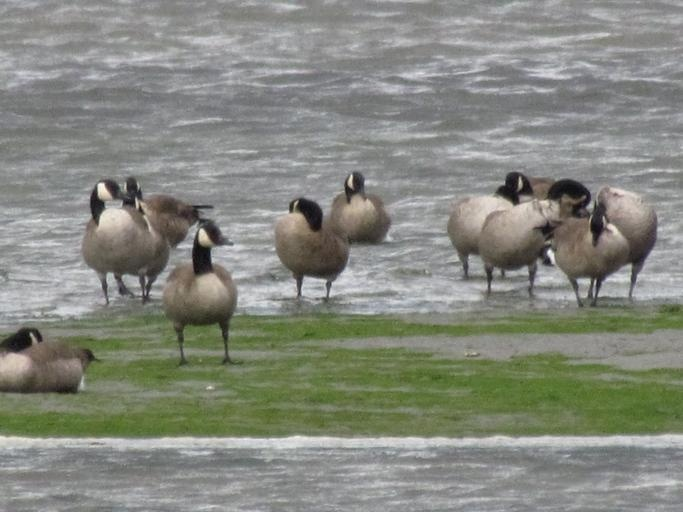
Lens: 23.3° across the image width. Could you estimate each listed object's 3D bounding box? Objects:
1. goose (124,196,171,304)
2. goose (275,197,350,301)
[{"bbox_3d":[-4.230,-0.266,37.886,1.347,2.144,1.374,-5,16,-14],"label":"goose"},{"bbox_3d":[-0.461,-0.322,37.827,1.497,1.745,2.594,22,31,39],"label":"goose"}]
